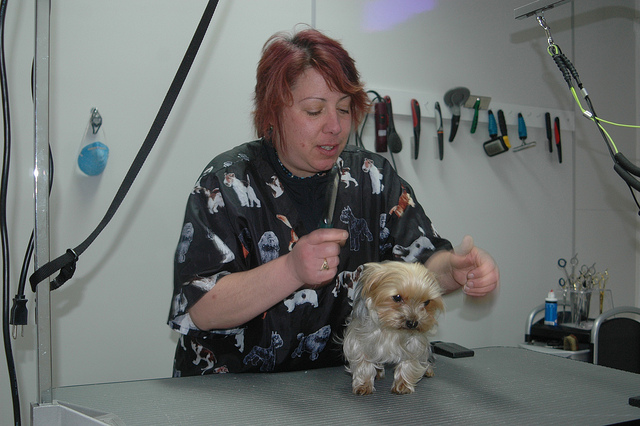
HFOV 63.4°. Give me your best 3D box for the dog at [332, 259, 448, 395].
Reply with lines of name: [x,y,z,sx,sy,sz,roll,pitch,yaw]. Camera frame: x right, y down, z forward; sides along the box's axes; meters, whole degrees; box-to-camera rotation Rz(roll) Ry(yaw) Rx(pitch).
dog: [0.260,0.403,1.986,0.378,0.479,0.549,2,2,-2]

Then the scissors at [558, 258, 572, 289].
scissors: [1.665,0.413,3.530,0.073,0.223,0.007,-15,-1,-12]

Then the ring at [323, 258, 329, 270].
ring: [0.023,0.168,1.724,0.017,0.039,0.005,-4,9,-27]

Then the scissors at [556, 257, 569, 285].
scissors: [1.684,0.404,3.603,0.091,0.190,0.032,-16,8,-33]

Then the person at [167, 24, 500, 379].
person: [0.006,0.062,2.161,1.149,1.500,1.095,2,17,0]

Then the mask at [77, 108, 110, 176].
mask: [-1.139,-0.278,2.608,0.145,0.188,0.072,-4,9,-27]
